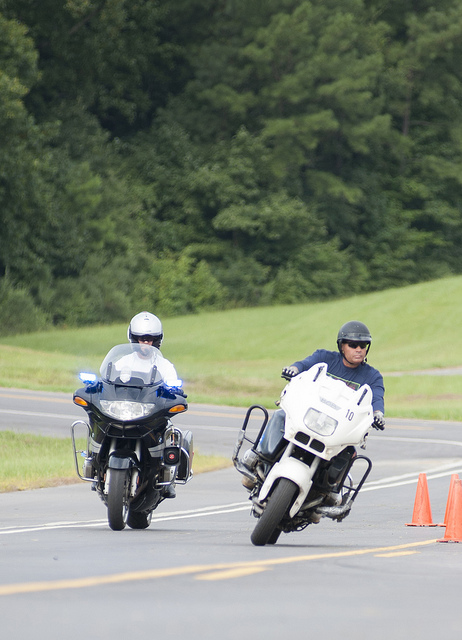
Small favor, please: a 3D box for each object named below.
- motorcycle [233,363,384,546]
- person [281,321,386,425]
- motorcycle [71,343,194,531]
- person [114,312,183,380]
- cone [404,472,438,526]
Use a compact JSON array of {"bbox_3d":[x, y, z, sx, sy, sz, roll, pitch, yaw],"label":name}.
[{"bbox_3d":[0.729,1.105,10.485,0.823,1.107,2.016,24,1,6],"label":"motorcycle"},{"bbox_3d":[0.975,0.373,10.268,1.066,0.438,1.339,5,14,-17],"label":"person"},{"bbox_3d":[-0.910,1.064,10.696,0.783,1.187,1.204,7,3,33],"label":"motorcycle"},{"bbox_3d":[-0.837,0.235,11.295,0.446,0.421,0.740,3,31,-7],"label":"person"},{"bbox_3d":[1.898,1.806,11.857,0.314,0.458,0.474,5,2,10],"label":"cone"}]
